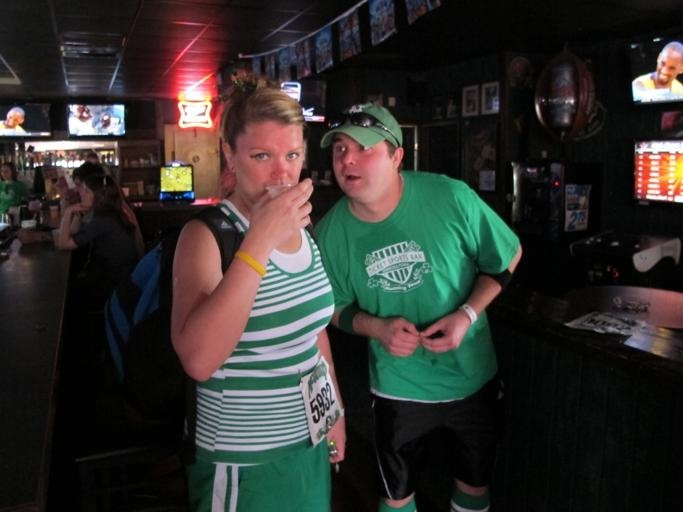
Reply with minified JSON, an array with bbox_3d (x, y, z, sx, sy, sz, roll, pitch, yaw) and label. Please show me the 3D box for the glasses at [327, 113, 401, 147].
[{"bbox_3d":[0.130,-0.559,2.246,0.176,0.136,0.254,6,4,39],"label":"glasses"}]
